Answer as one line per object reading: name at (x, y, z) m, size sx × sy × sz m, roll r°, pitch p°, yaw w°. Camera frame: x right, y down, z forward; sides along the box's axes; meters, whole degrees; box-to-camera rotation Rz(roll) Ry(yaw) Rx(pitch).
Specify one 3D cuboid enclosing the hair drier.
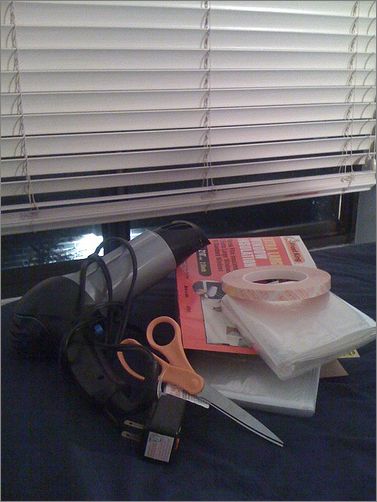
hair drier at (-0.049, 0.075, 0.527) m, size 0.210 × 0.215 × 0.219 m, roll 16°, pitch 26°, yaw 35°

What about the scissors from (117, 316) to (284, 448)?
scissors at (0.016, 0.144, 0.442) m, size 0.198 × 0.010 × 0.086 m, roll 32°, pitch 43°, yaw 15°
